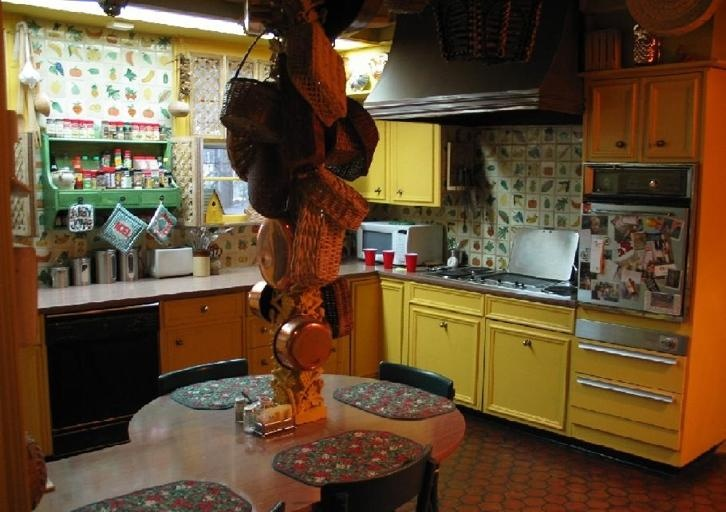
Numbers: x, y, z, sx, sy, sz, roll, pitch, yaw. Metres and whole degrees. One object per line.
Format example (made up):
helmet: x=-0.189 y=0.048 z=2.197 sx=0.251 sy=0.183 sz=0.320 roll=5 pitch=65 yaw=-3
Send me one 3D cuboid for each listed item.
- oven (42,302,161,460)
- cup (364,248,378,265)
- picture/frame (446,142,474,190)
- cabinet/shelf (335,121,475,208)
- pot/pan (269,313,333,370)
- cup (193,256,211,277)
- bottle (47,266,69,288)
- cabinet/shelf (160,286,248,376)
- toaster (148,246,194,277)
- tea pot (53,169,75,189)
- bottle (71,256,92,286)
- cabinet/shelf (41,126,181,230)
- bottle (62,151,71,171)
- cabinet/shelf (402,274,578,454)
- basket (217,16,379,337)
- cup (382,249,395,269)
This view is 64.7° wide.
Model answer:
oven: x=-2.114 y=0.809 z=4.220 sx=0.841 sy=1.002 sz=0.829 roll=1 pitch=7 yaw=-42
cup: x=0.060 y=0.012 z=5.378 sx=0.142 sy=0.136 sz=0.137 roll=0 pitch=5 yaw=0
picture/frame: x=0.903 y=-0.814 z=5.214 sx=0.345 sy=0.422 sz=0.120 roll=-11 pitch=18 yaw=-43
cabinet/shelf: x=0.422 y=-0.726 z=4.449 sx=0.408 sy=0.843 sz=1.040 roll=2 pitch=6 yaw=-39
pot/pan: x=-0.240 y=0.355 z=2.316 sx=0.239 sy=0.220 sz=0.083 roll=-7 pitch=9 yaw=-31
cup: x=-1.362 y=0.088 z=4.941 sx=0.176 sy=0.181 sz=0.171 roll=2 pitch=6 yaw=0
bottle: x=-2.302 y=0.165 z=4.365 sx=0.131 sy=0.131 sz=0.156 roll=3 pitch=6 yaw=19
cabinet/shelf: x=-1.239 y=0.573 z=4.517 sx=0.528 sy=0.878 sz=0.590 roll=-2 pitch=3 yaw=-35
toaster: x=-1.585 y=0.050 z=4.784 sx=0.429 sy=0.293 sz=0.225 roll=-5 pitch=16 yaw=-38
tea pot: x=-2.243 y=-0.577 z=4.307 sx=0.140 sy=0.122 sz=0.134 roll=1 pitch=0 yaw=0
bottle: x=-2.188 y=0.123 z=4.462 sx=0.140 sy=0.207 sz=0.121 roll=-6 pitch=15 yaw=-28
cabinet/shelf: x=-2.035 y=-0.612 z=4.549 sx=0.917 sy=0.626 sz=0.318 roll=-5 pitch=6 yaw=-38
bottle: x=-2.309 y=-0.746 z=4.479 sx=0.063 sy=0.118 sz=0.063 roll=1 pitch=13 yaw=0
cabinet/shelf: x=1.146 y=0.757 z=4.747 sx=1.002 sy=1.088 sz=1.703 roll=-1 pitch=6 yaw=-44
basket: x=-0.244 y=-0.249 z=2.265 sx=0.599 sy=1.272 sz=0.366 roll=1 pitch=13 yaw=0
cup: x=0.238 y=0.036 z=5.315 sx=0.155 sy=0.162 sz=0.154 roll=0 pitch=5 yaw=0
